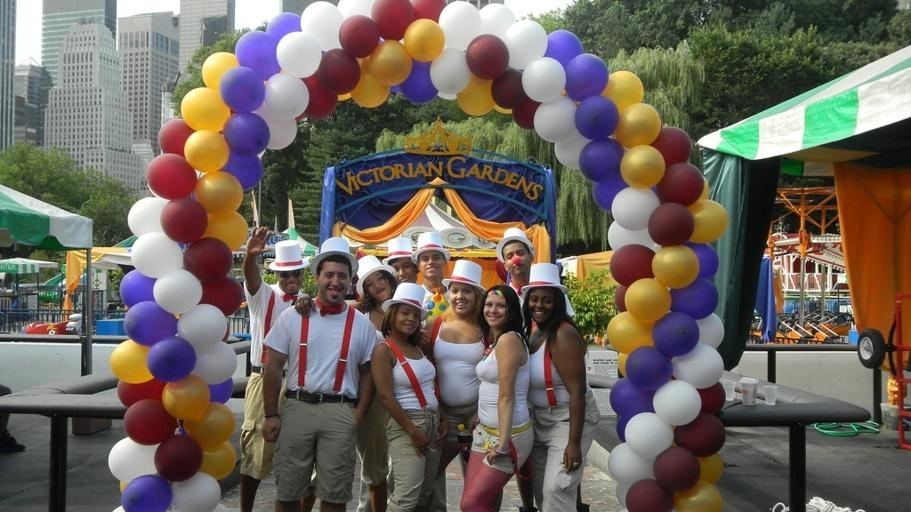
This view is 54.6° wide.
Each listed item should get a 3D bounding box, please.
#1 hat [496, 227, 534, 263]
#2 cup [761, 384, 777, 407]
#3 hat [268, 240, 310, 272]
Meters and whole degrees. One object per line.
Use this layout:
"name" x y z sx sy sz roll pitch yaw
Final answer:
"hat" 1.087 -0.289 16.418 0.645 0.343 0.704 -14 -43 8
"cup" 5.731 2.552 16.096 0.285 0.318 0.308 1 -15 0
"hat" -3.073 0.002 16.310 0.582 0.329 0.608 -1 9 -4
